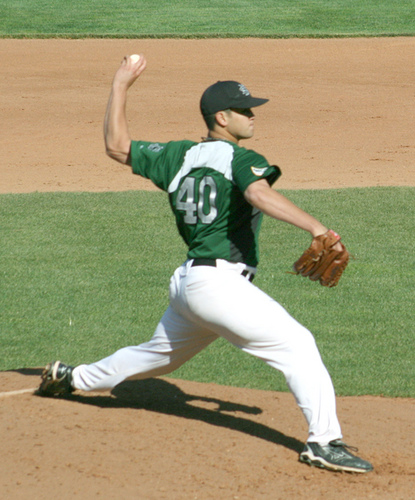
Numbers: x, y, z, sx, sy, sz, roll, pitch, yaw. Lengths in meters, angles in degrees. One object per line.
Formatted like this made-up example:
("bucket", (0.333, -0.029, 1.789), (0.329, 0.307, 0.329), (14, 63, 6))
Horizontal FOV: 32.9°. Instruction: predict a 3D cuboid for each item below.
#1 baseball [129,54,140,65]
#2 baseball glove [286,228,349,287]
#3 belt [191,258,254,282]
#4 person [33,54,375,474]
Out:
("baseball", (-0.391, -1.030, 3.802), (0.057, 0.051, 0.031), (-1, 11, -22))
("baseball glove", (0.525, 0.020, 3.455), (0.369, 0.184, 0.512), (1, 24, 1))
("belt", (0.091, 0.100, 3.530), (0.332, 0.128, 0.113), (-2, 11, -28))
("person", (0.065, 0.024, 3.630), (1.644, 2.051, 0.517), (10, 13, 37))
